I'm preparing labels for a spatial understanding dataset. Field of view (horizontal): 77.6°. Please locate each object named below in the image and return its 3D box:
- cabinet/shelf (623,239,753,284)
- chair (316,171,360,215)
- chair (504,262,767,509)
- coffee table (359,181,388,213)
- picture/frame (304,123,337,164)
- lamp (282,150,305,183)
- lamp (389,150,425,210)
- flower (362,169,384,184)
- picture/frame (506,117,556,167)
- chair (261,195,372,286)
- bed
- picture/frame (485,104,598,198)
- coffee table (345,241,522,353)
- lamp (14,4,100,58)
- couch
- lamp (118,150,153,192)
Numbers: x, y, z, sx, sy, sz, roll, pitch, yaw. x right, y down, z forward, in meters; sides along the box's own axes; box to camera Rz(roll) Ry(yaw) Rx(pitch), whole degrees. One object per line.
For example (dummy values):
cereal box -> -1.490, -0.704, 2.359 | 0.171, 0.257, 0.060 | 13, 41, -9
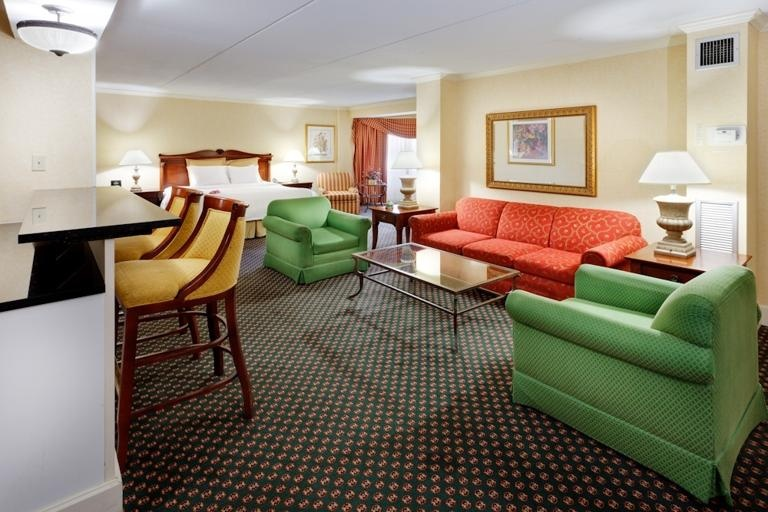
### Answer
cabinet/shelf -> 2.350, 0.044, 3.787 | 0.486, 0.462, 0.473 | -10, 14, -36
chair -> -0.921, -1.254, 9.740 | 0.804, 0.907, 0.894 | -6, 8, -24
chair -> 1.539, 0.481, 3.144 | 1.223, 1.174, 1.441 | -10, 13, -36
coffee table -> -0.237, -1.401, 10.899 | 0.783, 0.642, 0.829 | -4, 12, -17
picture/frame -> -1.309, -2.338, 9.977 | 0.780, 0.755, 0.040 | 9, 13, 32
lamp -> -1.791, -1.835, 9.705 | 0.548, 0.850, 0.535 | -2, 8, -10
lamp -> 0.303, -0.979, 6.168 | 0.436, 0.672, 0.416 | 0, 1, -19
flower -> -0.185, -1.743, 10.603 | 0.523, 0.349, 0.364 | -4, 7, -36
picture/frame -> 1.658, -1.292, 5.407 | 0.028, 0.514, 0.592 | -19, 22, -36
chair -> -0.787, -0.228, 5.553 | 0.940, 0.809, 0.873 | -11, 18, -35
bed -> -2.489, -1.206, 8.160 | 1.915, 1.006, 1.941 | 29, 14, 16
picture/frame -> 1.791, -1.171, 5.301 | 1.171, 0.822, 0.059 | 4, 6, 43
coffee table -> 0.408, 0.277, 4.459 | 0.915, 0.452, 1.465 | -13, 19, -38
lamp -> -2.205, -1.526, 3.279 | 0.470, 0.319, 0.458 | 1, 2, -10
couch -> 1.371, -0.069, 5.170 | 0.841, 0.942, 2.391 | -13, 18, -37
lamp -> -3.923, -1.332, 7.587 | 0.509, 0.559, 0.487 | -3, -1, -10
